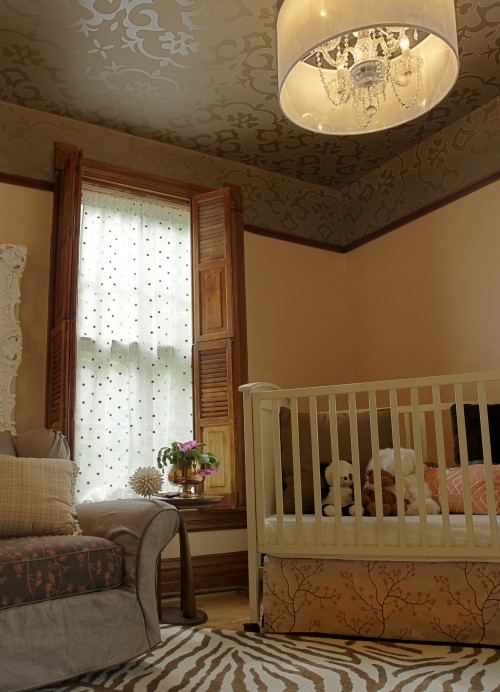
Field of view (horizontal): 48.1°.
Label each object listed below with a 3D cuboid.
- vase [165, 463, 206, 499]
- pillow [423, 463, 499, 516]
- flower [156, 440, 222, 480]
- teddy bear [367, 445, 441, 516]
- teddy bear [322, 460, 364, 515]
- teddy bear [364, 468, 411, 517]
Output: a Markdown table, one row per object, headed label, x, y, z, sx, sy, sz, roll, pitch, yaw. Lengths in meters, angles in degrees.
| label | x | y | z | sx | sy | sz | roll | pitch | yaw |
| --- | --- | --- | --- | --- | --- | --- | --- | --- | --- |
| vase | -0.327 | 0.657 | 2.819 | 0.222 | 0.207 | 0.216 | 3 | -20 | -8 |
| pillow | 0.808 | 0.539 | 2.111 | 0.187 | 0.201 | 0.512 | -1 | -5 | 2 |
| flower | -0.312 | 0.558 | 2.799 | 0.261 | 0.141 | 0.228 | -2 | -7 | 18 |
| teddy bear | 0.573 | 0.543 | 2.249 | 0.292 | 0.284 | 0.112 | -3 | -39 | 10 |
| teddy bear | 0.378 | 0.577 | 2.284 | 0.163 | 0.239 | 0.166 | -4 | -40 | 2 |
| teddy bear | 0.506 | 0.564 | 2.152 | 0.147 | 0.191 | 0.197 | 0 | -6 | 1 |
